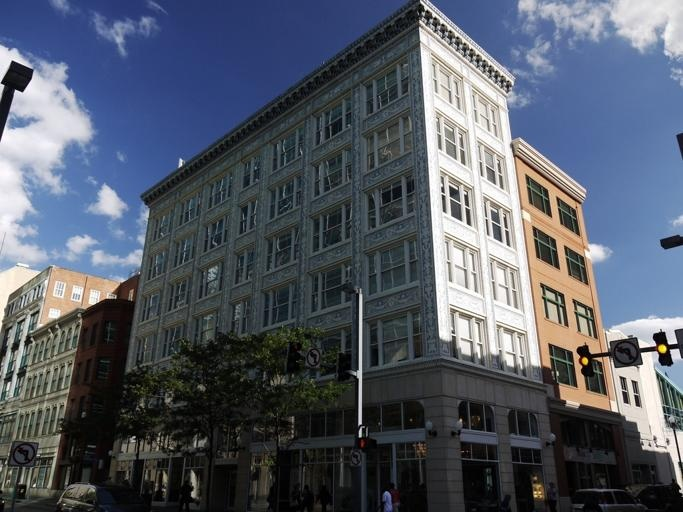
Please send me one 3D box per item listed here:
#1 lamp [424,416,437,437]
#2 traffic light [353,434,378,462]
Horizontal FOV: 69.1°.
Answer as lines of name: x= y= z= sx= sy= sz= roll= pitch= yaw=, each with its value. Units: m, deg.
lamp: x=4.917 y=9.423 z=27.283 sx=0.641 sy=0.975 sz=0.509 roll=-8 pitch=-30 yaw=15
traffic light: x=0.958 y=8.712 z=22.308 sx=0.702 sy=1.241 sz=1.142 roll=-17 pitch=-34 yaw=29
